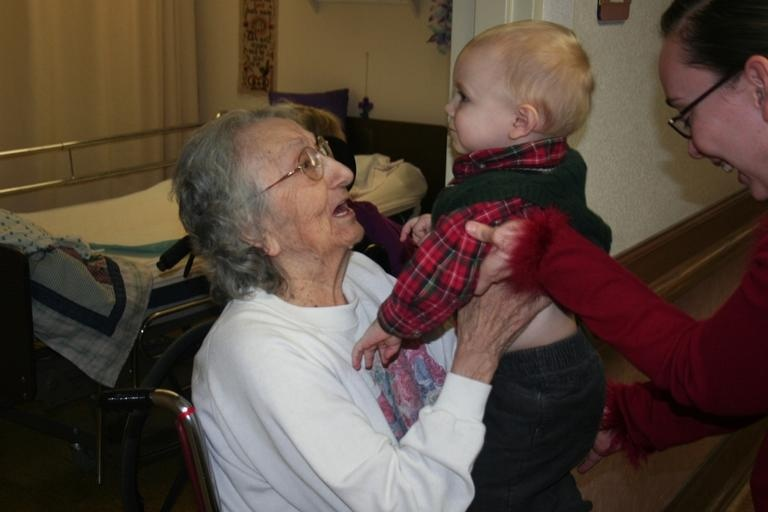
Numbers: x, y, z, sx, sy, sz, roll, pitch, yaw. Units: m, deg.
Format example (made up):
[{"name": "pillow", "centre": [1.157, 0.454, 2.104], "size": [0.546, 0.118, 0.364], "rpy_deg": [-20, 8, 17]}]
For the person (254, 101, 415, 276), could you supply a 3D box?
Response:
[{"name": "person", "centre": [-0.238, -0.305, 2.395], "size": [0.706, 0.491, 0.401], "rpy_deg": [29, 41, 27]}]

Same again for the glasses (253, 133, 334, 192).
[{"name": "glasses", "centre": [-0.279, -0.298, 1.919], "size": [0.182, 0.065, 0.179], "rpy_deg": [-22, 10, 23]}]

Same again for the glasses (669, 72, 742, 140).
[{"name": "glasses", "centre": [0.880, -0.393, 1.664], "size": [0.037, 0.135, 0.131], "rpy_deg": [45, 7, 4]}]
